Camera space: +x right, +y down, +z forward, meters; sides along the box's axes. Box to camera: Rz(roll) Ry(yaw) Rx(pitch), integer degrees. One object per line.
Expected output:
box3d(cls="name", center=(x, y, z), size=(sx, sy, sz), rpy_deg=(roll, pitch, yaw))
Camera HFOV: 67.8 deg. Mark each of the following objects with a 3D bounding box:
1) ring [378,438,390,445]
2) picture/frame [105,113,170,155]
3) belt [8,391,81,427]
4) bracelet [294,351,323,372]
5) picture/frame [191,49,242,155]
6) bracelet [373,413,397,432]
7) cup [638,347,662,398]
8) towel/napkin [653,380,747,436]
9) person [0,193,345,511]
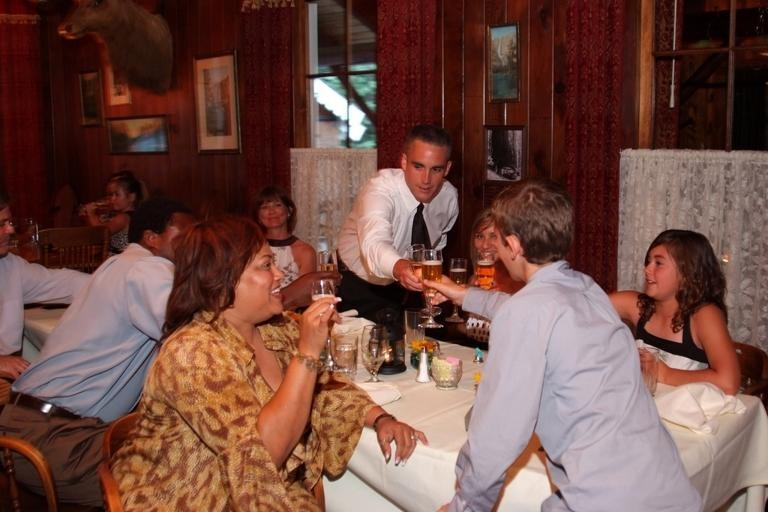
box3d(cls="ring", center=(0.002, 0.712, 2.216), size=(0.032, 0.033, 0.032), rpy_deg=(1, -4, 0))
box3d(cls="picture/frame", center=(-2.852, -1.399, 6.592), size=(1.016, 0.462, 0.042), rpy_deg=(1, 5, 29))
box3d(cls="belt", center=(-1.565, 0.689, 2.602), size=(0.279, 0.063, 0.143), rpy_deg=(21, 17, 0))
box3d(cls="bracelet", center=(-0.269, 0.371, 2.027), size=(0.082, 0.030, 0.065), rpy_deg=(27, 5, 16))
box3d(cls="picture/frame", center=(-1.711, -1.628, 5.858), size=(0.979, 1.382, 0.060), rpy_deg=(6, 11, 40))
box3d(cls="bracelet", center=(0.005, 0.658, 2.268), size=(0.020, 0.069, 0.069), rpy_deg=(45, 8, -8))
box3d(cls="cup", center=(1.152, 0.505, 2.493), size=(0.125, 0.211, 0.130), rpy_deg=(0, -4, 0))
box3d(cls="towel/napkin", center=(1.254, 0.588, 2.249), size=(0.243, 0.088, 0.252), rpy_deg=(2, 13, 34))
box3d(cls="person", center=(-1.443, 0.172, 3.400), size=(1.315, 2.474, 1.000), rpy_deg=(2, 14, -37))
